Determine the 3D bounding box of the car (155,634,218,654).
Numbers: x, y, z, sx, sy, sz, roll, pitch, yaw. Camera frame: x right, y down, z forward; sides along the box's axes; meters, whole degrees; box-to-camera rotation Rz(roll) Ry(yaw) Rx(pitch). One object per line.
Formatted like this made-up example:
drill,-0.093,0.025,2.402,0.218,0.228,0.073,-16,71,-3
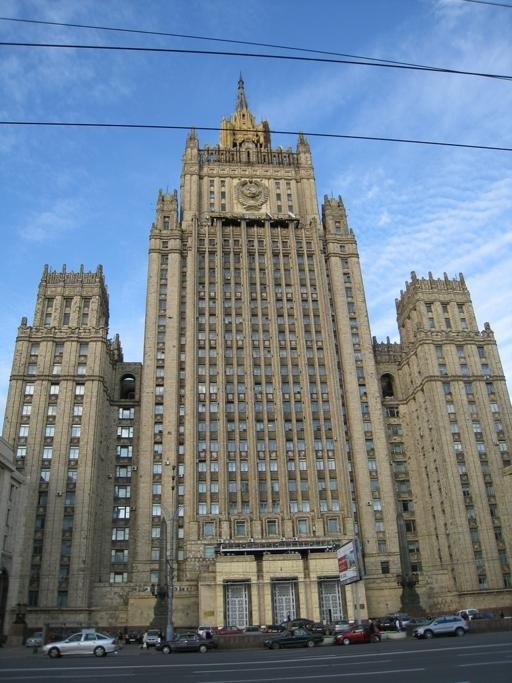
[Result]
car,-3.772,16.536,32.798,2.694,0.856,1.081,2,-60,4

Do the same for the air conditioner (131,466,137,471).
air conditioner,-13.893,14.407,68.174,0.464,0.427,0.446,-1,-24,0

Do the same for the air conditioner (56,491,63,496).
air conditioner,-20.037,15.508,61.059,0.445,0.410,0.426,-2,-13,-8
